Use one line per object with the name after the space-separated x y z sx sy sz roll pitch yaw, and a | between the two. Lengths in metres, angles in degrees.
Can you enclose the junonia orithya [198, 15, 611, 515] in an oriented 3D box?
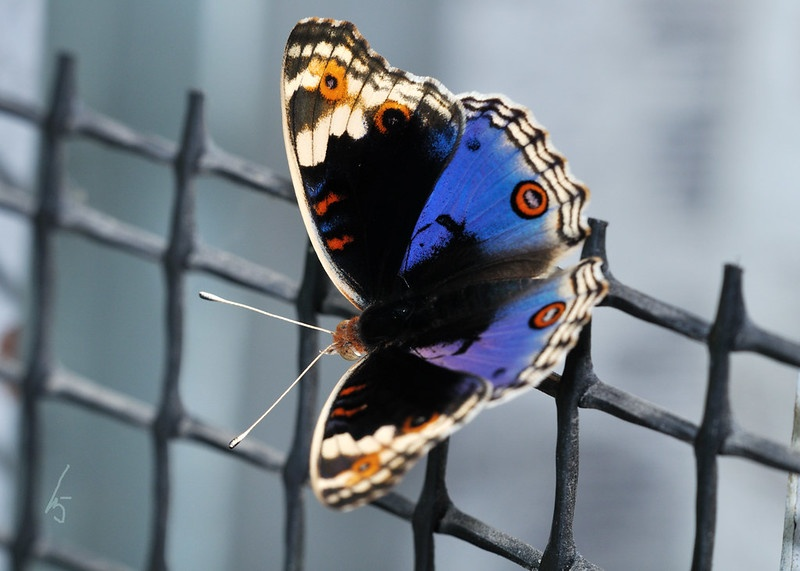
0.032 -0.001 1.548 0.360 0.232 0.553 -23 -49 -10 | junonia orithya
